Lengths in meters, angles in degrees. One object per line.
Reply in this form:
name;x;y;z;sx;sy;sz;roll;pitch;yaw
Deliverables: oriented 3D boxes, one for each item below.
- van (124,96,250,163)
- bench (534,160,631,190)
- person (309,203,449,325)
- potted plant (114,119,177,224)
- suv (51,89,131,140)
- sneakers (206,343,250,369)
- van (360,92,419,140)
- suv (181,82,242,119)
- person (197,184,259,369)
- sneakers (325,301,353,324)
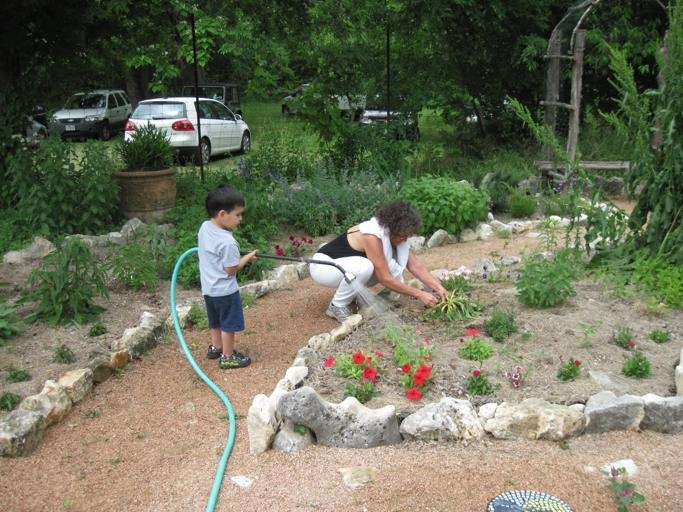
van;-3.440;-2.548;14.441;1.763;1.363;3.539;4;15;16
bench;4.582;-1.723;12.198;1.734;0.405;0.979;-11;19;-14
person;0.464;-0.112;6.921;1.379;1.293;1.001;6;21;9
potted plant;-2.777;-1.100;9.060;0.911;1.383;0.856;-15;21;-26
suv;-7.077;-3.923;17.972;0.983;1.314;2.816;-2;19;11
sneakers;-1.110;0.975;6.254;0.434;0.227;0.189;2;8;-5
van;1.349;-3.527;16.684;1.363;1.145;2.333;3;25;9
suv;-3.927;-4.893;19.962;1.377;1.444;2.305;0;6;8
person;-1.111;0.185;6.125;0.487;1.736;0.475;-20;22;-40
sneakers;-0.023;0.595;6.845;0.313;0.163;0.130;14;16;36
